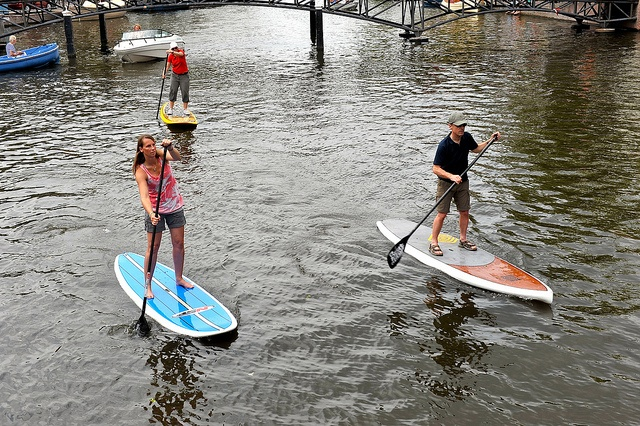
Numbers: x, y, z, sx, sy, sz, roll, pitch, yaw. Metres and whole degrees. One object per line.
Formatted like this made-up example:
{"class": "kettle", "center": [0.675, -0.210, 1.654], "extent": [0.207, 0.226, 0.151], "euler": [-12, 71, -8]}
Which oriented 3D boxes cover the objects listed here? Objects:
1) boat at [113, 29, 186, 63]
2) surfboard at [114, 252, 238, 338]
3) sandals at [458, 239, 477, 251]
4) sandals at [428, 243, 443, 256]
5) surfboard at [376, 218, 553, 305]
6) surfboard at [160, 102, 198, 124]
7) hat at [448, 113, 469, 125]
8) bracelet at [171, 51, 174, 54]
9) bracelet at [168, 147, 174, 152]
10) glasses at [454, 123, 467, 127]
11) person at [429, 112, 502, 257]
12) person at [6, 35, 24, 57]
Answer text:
{"class": "boat", "center": [-9.543, -9.273, 32.863], "extent": [2.564, 1.280, 3.989], "euler": [5, 23, 23]}
{"class": "surfboard", "center": [-3.002, 1.649, 11.670], "extent": [3.185, 0.389, 1.121], "euler": [27, 35, 32]}
{"class": "sandals", "center": [3.197, 0.705, 12.946], "extent": [0.188, 0.128, 0.396], "euler": [-13, 18, -42]}
{"class": "sandals", "center": [2.477, 0.812, 12.720], "extent": [0.185, 0.109, 0.336], "euler": [-5, 14, -9]}
{"class": "surfboard", "center": [2.957, 1.030, 12.613], "extent": [3.852, 0.361, 1.255], "euler": [21, 33, 35]}
{"class": "surfboard", "center": [-4.930, -3.314, 20.622], "extent": [1.063, 0.506, 1.426], "euler": [-12, 25, -21]}
{"class": "hat", "center": [2.737, -1.869, 11.971], "extent": [0.392, 0.244, 0.493], "euler": [-8, 7, -16]}
{"class": "bracelet", "center": [-4.915, -5.310, 19.760], "extent": [0.089, 0.077, 0.077], "euler": [19, 53, 9]}
{"class": "bracelet", "center": [-2.727, -1.166, 10.898], "extent": [0.087, 0.074, 0.074], "euler": [11, 46, -3]}
{"class": "glasses", "center": [2.783, -1.730, 11.753], "extent": [0.247, 0.082, 0.109], "euler": [-6, 25, -10]}
{"class": "person", "center": [2.862, -0.542, 12.410], "extent": [1.036, 3.137, 1.382], "euler": [16, 34, 30]}
{"class": "person", "center": [-15.225, -8.301, 29.549], "extent": [0.798, 1.030, 2.590], "euler": [-15, 27, -23]}
